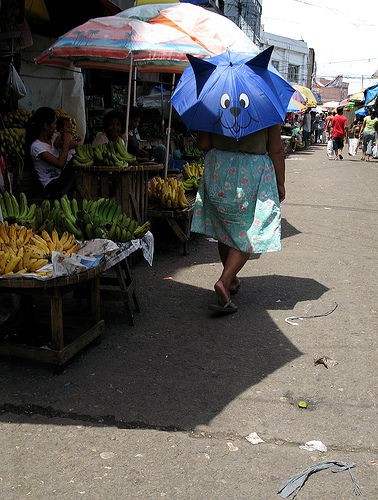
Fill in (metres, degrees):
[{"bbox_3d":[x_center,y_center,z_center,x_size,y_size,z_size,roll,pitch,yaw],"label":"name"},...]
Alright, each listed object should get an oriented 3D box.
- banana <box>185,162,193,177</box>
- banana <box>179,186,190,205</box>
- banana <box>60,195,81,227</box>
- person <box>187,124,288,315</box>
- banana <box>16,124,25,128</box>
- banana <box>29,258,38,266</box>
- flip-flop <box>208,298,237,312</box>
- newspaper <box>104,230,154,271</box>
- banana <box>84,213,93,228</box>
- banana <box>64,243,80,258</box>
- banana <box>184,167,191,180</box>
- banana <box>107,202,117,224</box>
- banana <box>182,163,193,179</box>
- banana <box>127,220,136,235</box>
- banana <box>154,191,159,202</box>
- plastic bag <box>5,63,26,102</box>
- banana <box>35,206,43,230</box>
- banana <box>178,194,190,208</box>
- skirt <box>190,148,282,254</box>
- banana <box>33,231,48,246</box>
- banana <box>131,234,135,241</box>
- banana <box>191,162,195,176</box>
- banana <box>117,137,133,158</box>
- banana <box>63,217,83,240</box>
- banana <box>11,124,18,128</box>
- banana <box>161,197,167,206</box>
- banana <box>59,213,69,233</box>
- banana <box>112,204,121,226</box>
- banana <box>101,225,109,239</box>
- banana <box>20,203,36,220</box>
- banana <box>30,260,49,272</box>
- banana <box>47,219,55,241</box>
[{"bbox_3d":[-0.010,-1.384,7.481,0.082,0.100,0.385,21,39,-28],"label":"banana"},{"bbox_3d":[-0.077,-0.725,5.763,0.105,0.291,0.061,-24,-15,-4],"label":"banana"},{"bbox_3d":[-0.964,-0.302,3.483,0.119,0.169,0.504,-11,33,-11],"label":"banana"},{"bbox_3d":[0.391,-0.245,3.682,0.786,1.562,0.517,4,14,7],"label":"person"},{"bbox_3d":[-2.528,-1.854,6.590,0.120,0.029,0.035,29,38,10],"label":"banana"},{"bbox_3d":[-0.920,0.069,2.610,0.039,0.014,0.051,1,14,10],"label":"banana"},{"bbox_3d":[0.268,0.465,3.714,0.278,0.104,0.087,2,0,-17],"label":"flip-flop"},{"bbox_3d":[-0.476,0.000,3.334,0.238,0.129,0.377,1,19,17],"label":"newspaper"},{"bbox_3d":[-0.733,-0.222,3.200,0.062,0.091,0.097,-1,14,-13],"label":"banana"},{"bbox_3d":[-0.762,-0.006,2.904,0.041,0.061,0.172,30,34,11],"label":"banana"},{"bbox_3d":[-0.033,-1.266,7.312,0.058,0.236,0.062,-18,-11,-32],"label":"banana"},{"bbox_3d":[-0.653,-0.322,3.723,0.044,0.233,0.035,16,-3,4],"label":"banana"},{"bbox_3d":[-0.006,-1.328,7.398,0.168,0.207,0.081,-19,-15,37],"label":"banana"},{"bbox_3d":[-0.475,-0.193,3.643,0.061,0.095,0.026,4,0,-18],"label":"banana"},{"bbox_3d":[-0.442,-0.714,5.905,0.034,0.149,0.040,-6,-27,-3],"label":"banana"},{"bbox_3d":[-2.528,-2.412,6.362,0.262,0.473,0.644,-4,14,-22],"label":"plastic bag"},{"bbox_3d":[-1.202,-0.255,3.518,0.062,0.162,0.202,-3,14,-19],"label":"banana"},{"bbox_3d":[-0.045,-0.627,5.669,0.066,0.194,0.131,-18,14,40],"label":"banana"},{"bbox_3d":[0.428,-0.439,3.803,0.835,0.770,0.459,11,15,33],"label":"skirt"},{"bbox_3d":[-1.018,-0.082,3.010,0.032,0.046,0.130,-36,67,-24],"label":"banana"},{"bbox_3d":[-0.448,-0.104,3.494,0.015,0.053,0.060,-1,2,24],"label":"banana"},{"bbox_3d":[0.074,-1.373,7.474,0.064,0.228,0.040,21,-31,-32],"label":"banana"},{"bbox_3d":[-0.708,-1.143,4.922,0.099,0.207,0.257,-11,18,-42],"label":"banana"},{"bbox_3d":[-0.848,-0.157,3.213,0.043,0.183,0.062,-24,29,19],"label":"banana"},{"bbox_3d":[-2.603,-1.849,6.545,0.097,0.025,0.078,19,20,35],"label":"banana"},{"bbox_3d":[-0.327,-0.625,5.692,0.133,0.047,0.037,56,8,31],"label":"banana"},{"bbox_3d":[-0.944,-0.202,3.300,0.034,0.161,0.059,-30,-11,20],"label":"banana"},{"bbox_3d":[-0.599,-0.316,3.715,0.039,0.223,0.033,20,-21,-8],"label":"banana"},{"bbox_3d":[-0.645,-0.138,3.378,0.042,0.110,0.040,-7,42,25],"label":"banana"},{"bbox_3d":[-1.330,-0.319,3.695,0.050,0.065,0.187,22,48,9],"label":"banana"},{"bbox_3d":[-0.875,0.077,2.617,0.136,0.035,0.031,-32,56,-31],"label":"banana"},{"bbox_3d":[-1.051,-0.155,3.309,0.040,0.156,0.028,2,23,-9],"label":"banana"}]
